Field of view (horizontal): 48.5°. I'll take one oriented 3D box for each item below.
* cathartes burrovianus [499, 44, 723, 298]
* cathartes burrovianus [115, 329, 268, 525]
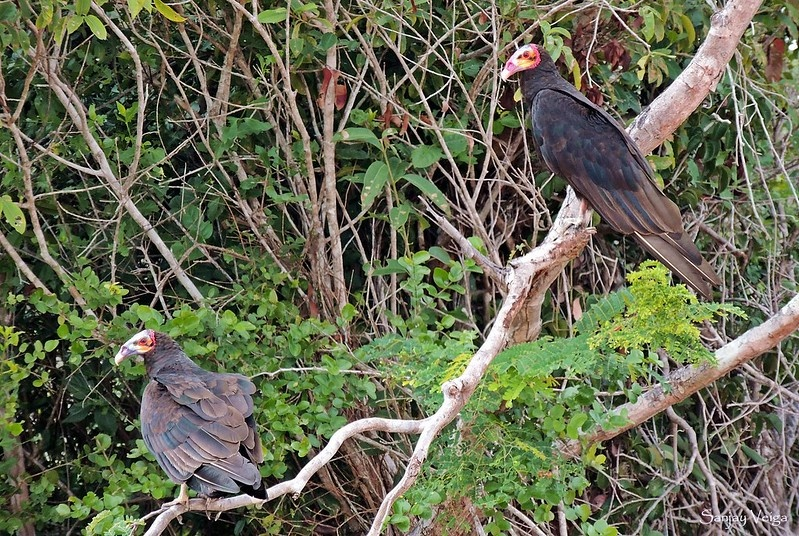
[{"bbox_3d":[1.284,-0.640,5.599,0.488,0.797,1.596,-42,63,-1],"label":"cathartes burrovianus"},{"bbox_3d":[-1.164,0.840,5.061,0.980,1.001,0.538,-6,-6,26],"label":"cathartes burrovianus"}]
